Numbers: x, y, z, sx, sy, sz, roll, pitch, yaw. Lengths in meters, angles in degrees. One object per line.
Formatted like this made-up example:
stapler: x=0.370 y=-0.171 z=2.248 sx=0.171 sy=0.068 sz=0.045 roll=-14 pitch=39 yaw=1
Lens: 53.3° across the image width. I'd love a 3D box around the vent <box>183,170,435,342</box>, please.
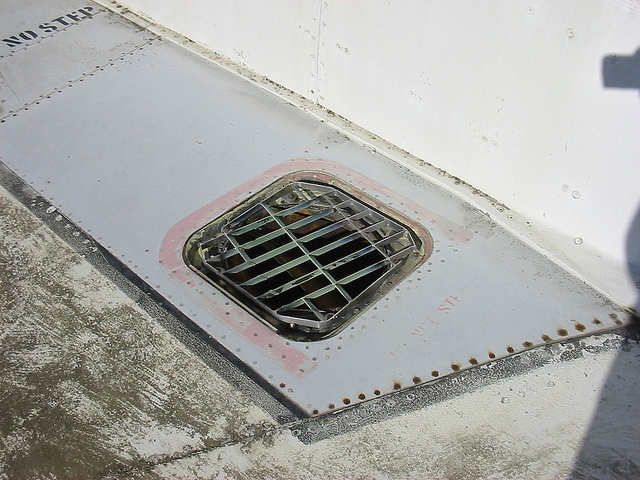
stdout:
vent: x=-0.081 y=0.036 z=3.803 sx=1.182 sy=0.955 sz=0.803 roll=-24 pitch=6 yaw=-31
